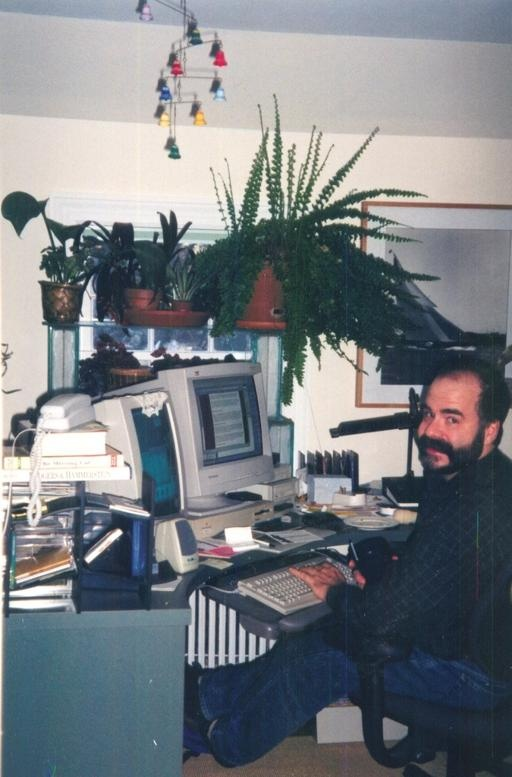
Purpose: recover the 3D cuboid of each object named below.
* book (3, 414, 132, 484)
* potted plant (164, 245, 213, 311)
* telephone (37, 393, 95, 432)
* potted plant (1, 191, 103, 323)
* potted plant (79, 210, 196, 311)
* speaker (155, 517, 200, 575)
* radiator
[{"bbox_3d":[-0.528,0.196,4.307,0.353,0.185,0.197,-6,5,-6],"label":"book"},{"bbox_3d":[-0.214,-0.383,5.120,0.156,0.238,0.186,-1,-7,13],"label":"potted plant"},{"bbox_3d":[-0.528,0.057,4.285,0.070,0.086,0.148,2,7,14],"label":"telephone"},{"bbox_3d":[-0.616,-0.403,5.175,0.346,0.543,0.376,-1,-3,22],"label":"potted plant"},{"bbox_3d":[-0.392,-0.408,5.050,0.298,0.341,0.330,-2,0,26],"label":"potted plant"},{"bbox_3d":[-0.228,0.449,4.445,0.138,0.209,0.104,0,2,23],"label":"speaker"},{"bbox_3d":[-0.094,0.747,4.878,0.287,0.422,0.026,0,3,-4],"label":"radiator"}]
